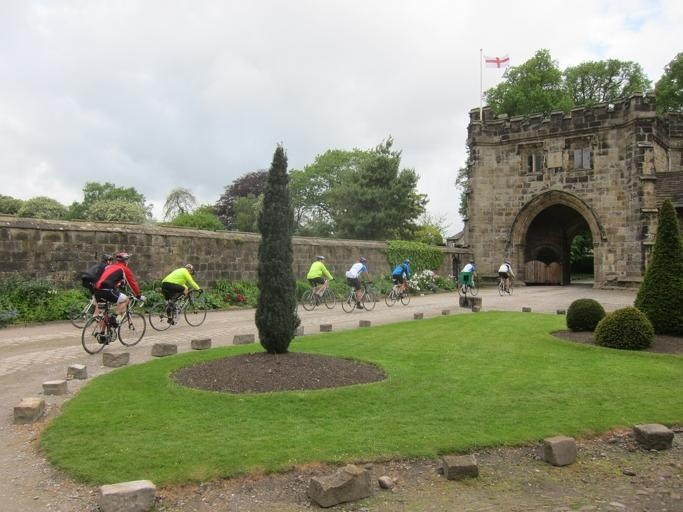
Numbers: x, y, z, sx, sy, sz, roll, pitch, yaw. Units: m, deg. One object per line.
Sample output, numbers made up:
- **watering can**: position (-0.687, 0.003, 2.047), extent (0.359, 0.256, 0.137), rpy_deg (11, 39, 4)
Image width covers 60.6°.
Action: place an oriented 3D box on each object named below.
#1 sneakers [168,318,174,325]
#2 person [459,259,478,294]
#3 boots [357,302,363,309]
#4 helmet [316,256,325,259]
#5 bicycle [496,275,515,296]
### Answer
- **sneakers**: position (-4.919, 1.868, 16.774), extent (0.151, 0.168, 0.142), rpy_deg (-1, -6, 0)
- **person**: position (5.914, 1.029, 27.216), extent (1.002, 1.375, 2.145), rpy_deg (0, -3, 15)
- **boots**: position (0.681, 1.849, 21.915), extent (0.268, 0.281, 0.148), rpy_deg (-5, 9, -36)
- **helmet**: position (-0.822, 0.068, 22.547), extent (0.250, 0.142, 0.370), rpy_deg (0, 2, -4)
- **bicycle**: position (8.176, 1.517, 29.641), extent (0.875, 1.186, 1.834), rpy_deg (-2, -4, 24)
